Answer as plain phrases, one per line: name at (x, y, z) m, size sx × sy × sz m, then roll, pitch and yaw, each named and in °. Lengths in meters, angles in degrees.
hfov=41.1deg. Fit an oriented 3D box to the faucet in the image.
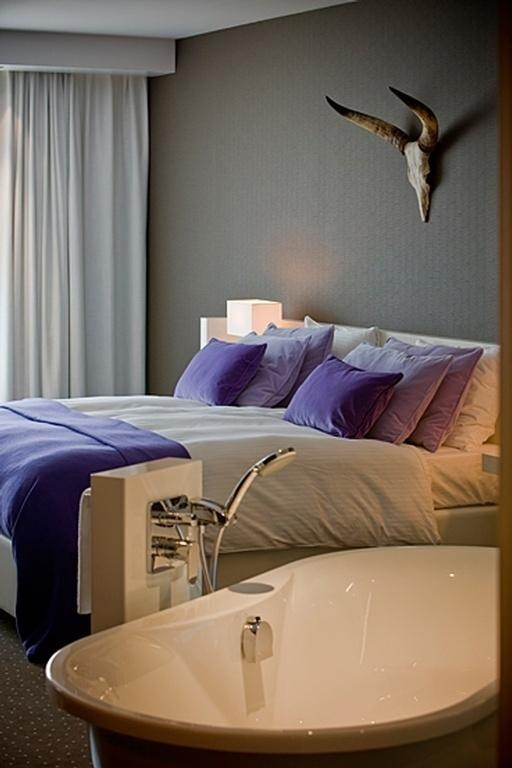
faucet at (-0.040, 0.244, 1.297) m, size 0.291 × 0.264 × 0.177 m, roll 0°, pitch 5°, yaw 29°
